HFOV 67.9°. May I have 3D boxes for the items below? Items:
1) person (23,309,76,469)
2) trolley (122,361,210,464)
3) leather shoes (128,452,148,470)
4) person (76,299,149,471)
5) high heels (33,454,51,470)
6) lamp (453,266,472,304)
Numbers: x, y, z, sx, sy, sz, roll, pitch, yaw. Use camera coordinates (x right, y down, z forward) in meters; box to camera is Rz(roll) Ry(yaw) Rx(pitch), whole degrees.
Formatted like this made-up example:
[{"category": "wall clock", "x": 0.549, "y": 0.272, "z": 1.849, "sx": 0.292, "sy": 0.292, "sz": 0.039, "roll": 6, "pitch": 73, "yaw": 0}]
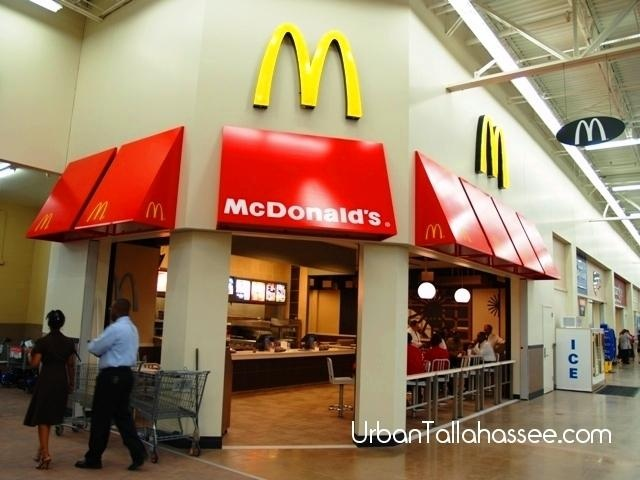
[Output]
[{"category": "person", "x": -3.179, "y": 1.726, "z": 5.621, "sx": 0.480, "sy": 1.757, "sz": 0.452, "roll": 6, "pitch": -8, "yaw": -27}, {"category": "trolley", "x": -2.169, "y": 2.345, "z": 6.187, "sx": 0.719, "sy": 1.273, "sz": 1.476, "roll": -5, "pitch": -5, "yaw": 11}, {"category": "leather shoes", "x": -2.115, "y": 2.553, "z": 5.522, "sx": 0.184, "sy": 0.212, "sz": 0.177, "roll": 6, "pitch": -8, "yaw": -27}, {"category": "person", "x": -2.380, "y": 1.679, "z": 5.607, "sx": 0.716, "sy": 1.937, "sz": 0.384, "roll": 6, "pitch": -8, "yaw": -26}, {"category": "high heels", "x": -3.168, "y": 2.519, "z": 5.424, "sx": 0.302, "sy": 0.123, "sz": 0.104, "roll": 1, "pitch": -6, "yaw": 20}, {"category": "lamp", "x": 3.833, "y": 1.232, "z": 12.766, "sx": 0.402, "sy": 0.887, "sz": 1.424, "roll": 1, "pitch": -7, "yaw": 16}]
